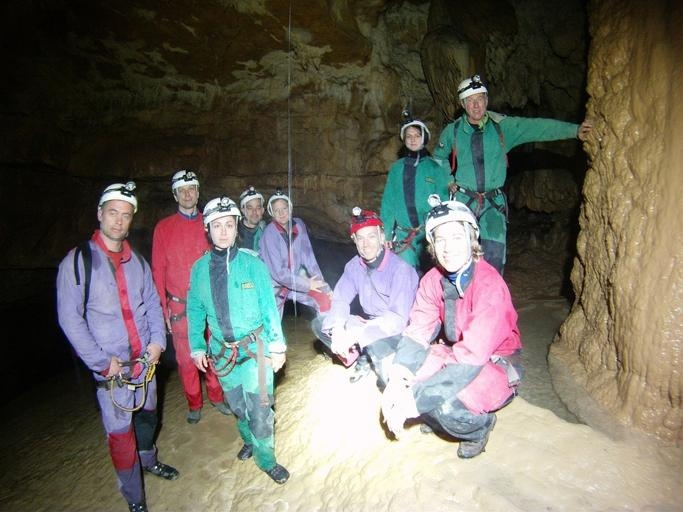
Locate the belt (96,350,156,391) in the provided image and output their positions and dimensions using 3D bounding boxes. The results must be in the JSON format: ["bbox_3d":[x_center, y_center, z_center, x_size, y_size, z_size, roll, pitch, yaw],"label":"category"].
[{"bbox_3d":[-2.169,1.240,5.270,0.422,0.185,0.325,-24,19,-25],"label":"belt"}]

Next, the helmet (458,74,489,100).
[{"bbox_3d":[1.564,-2.007,6.158,0.244,0.262,0.335,-28,10,1],"label":"helmet"}]

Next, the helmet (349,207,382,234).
[{"bbox_3d":[0.280,-0.402,5.756,0.266,0.309,0.391,-9,11,15],"label":"helmet"}]

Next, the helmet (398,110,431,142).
[{"bbox_3d":[0.986,-1.716,6.871,0.351,0.477,0.545,-3,8,3],"label":"helmet"}]

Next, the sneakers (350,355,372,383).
[{"bbox_3d":[0.231,1.304,5.940,0.173,0.138,0.312,26,48,19],"label":"sneakers"}]

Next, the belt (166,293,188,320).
[{"bbox_3d":[-2.022,0.629,6.410,0.211,0.322,0.108,4,1,9],"label":"belt"}]

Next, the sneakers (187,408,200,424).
[{"bbox_3d":[-1.883,2.070,6.606,0.102,0.230,0.225,5,52,-4],"label":"sneakers"}]

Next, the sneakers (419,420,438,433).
[{"bbox_3d":[0.832,1.650,4.928,0.126,0.130,0.041,-1,-30,4],"label":"sneakers"}]

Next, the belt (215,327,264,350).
[{"bbox_3d":[-1.048,0.851,5.311,0.463,0.167,0.159,-5,8,-4],"label":"belt"}]

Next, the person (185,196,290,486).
[{"bbox_3d":[-1.077,0.891,5.402,1.054,2.989,0.456,-1,8,16],"label":"person"}]

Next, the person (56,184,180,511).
[{"bbox_3d":[-2.294,0.974,5.296,0.985,3.378,0.505,-9,10,-37],"label":"person"}]

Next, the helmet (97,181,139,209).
[{"bbox_3d":[-2.389,-0.667,5.454,0.399,0.337,0.300,6,13,34],"label":"helmet"}]

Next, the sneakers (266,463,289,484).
[{"bbox_3d":[-0.664,2.274,5.376,0.143,0.088,0.246,-35,18,-36],"label":"sneakers"}]

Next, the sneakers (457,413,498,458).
[{"bbox_3d":[1.211,1.671,4.640,0.174,0.576,0.218,10,-16,41],"label":"sneakers"}]

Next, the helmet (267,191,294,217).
[{"bbox_3d":[-0.849,-0.683,7.152,0.301,0.456,0.367,-2,20,-6],"label":"helmet"}]
